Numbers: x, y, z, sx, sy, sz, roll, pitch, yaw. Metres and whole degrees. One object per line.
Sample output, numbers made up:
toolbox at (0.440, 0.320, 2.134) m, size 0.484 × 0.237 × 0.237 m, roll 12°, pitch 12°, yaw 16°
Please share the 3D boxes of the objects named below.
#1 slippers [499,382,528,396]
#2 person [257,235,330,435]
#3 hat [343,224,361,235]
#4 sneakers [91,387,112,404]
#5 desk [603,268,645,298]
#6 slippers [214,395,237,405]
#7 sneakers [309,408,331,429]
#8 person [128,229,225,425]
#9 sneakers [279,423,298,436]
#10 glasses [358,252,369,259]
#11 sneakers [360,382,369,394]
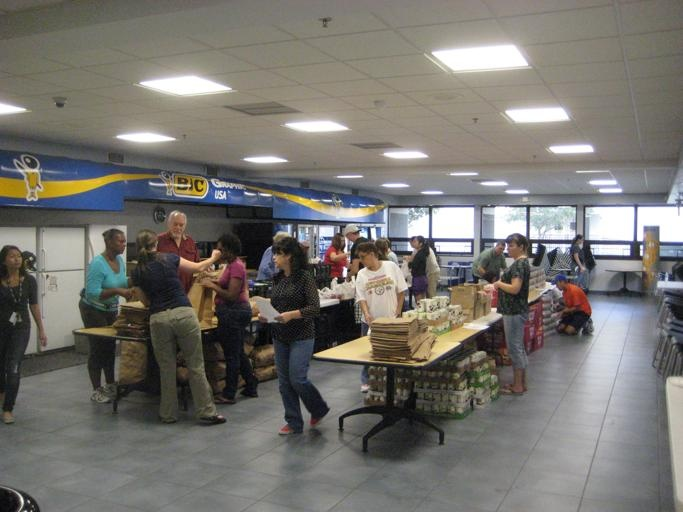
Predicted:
slippers at (2.148, 1.660, 6.423) m, size 0.277 × 0.084 × 0.152 m, roll 0°, pitch -1°, yaw 25°
person at (-0.467, 0.798, 5.041) m, size 0.593 × 1.967 × 0.515 m, roll 1°, pitch 4°, yaw 9°
hat at (0.185, -0.466, 9.038) m, size 0.227 × 0.165 × 0.380 m, roll 1°, pitch 3°, yaw 7°
sneakers at (-2.818, 1.666, 6.116) m, size 0.334 × 0.138 × 0.129 m, roll -1°, pitch -1°, yaw 24°
desk at (9.485, 0.874, 17.001) m, size 0.959 × 0.560 × 0.922 m, roll 2°, pitch -4°, yaw -21°
slippers at (-1.371, 1.686, 6.022) m, size 0.233 × 0.088 × 0.090 m, roll 5°, pitch -2°, yaw 1°
sneakers at (-0.217, 1.693, 5.354) m, size 0.116 × 0.130 × 0.328 m, roll -7°, pitch -3°, yaw 13°
person at (-1.718, 0.749, 5.368) m, size 0.878 × 2.018 × 0.414 m, roll -1°, pitch 5°, yaw -13°
sneakers at (-0.534, 1.737, 5.130) m, size 0.168 × 0.064 × 0.076 m, roll 3°, pitch -4°, yaw 7°
glasses at (0.240, -0.005, 5.696) m, size 0.056 × 0.052 × 0.071 m, roll -6°, pitch -26°, yaw 12°
sneakers at (0.281, 1.624, 6.287) m, size 0.110 × 0.100 × 0.223 m, roll -1°, pitch -10°, yaw 0°
